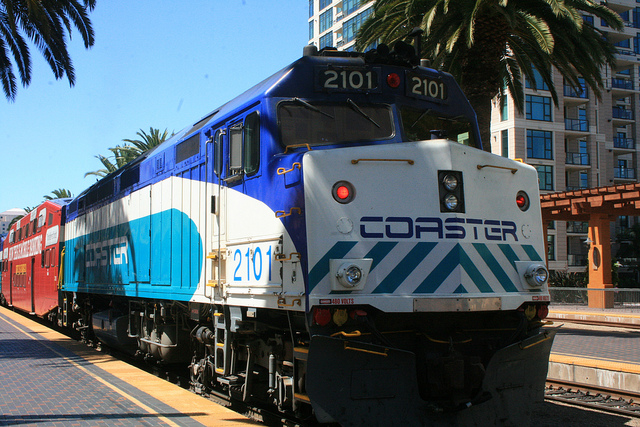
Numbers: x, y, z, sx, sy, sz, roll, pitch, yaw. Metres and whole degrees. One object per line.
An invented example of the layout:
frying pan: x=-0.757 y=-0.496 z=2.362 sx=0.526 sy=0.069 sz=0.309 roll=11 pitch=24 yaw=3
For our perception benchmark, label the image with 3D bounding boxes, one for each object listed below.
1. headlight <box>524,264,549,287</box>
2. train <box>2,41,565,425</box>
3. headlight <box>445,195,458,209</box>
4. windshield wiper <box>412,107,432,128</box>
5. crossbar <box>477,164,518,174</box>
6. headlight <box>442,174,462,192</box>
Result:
headlight: x=3.595 y=1.034 z=9.457 sx=0.293 sy=0.337 sz=0.177 roll=5 pitch=-12 yaw=-17
train: x=-6.614 y=0.809 z=18.302 sx=4.107 sy=6.736 sz=27.419 roll=3 pitch=-4 yaw=-43
headlight: x=2.100 y=-0.191 z=9.080 sx=0.210 sy=0.224 sz=0.044 roll=1 pitch=-3 yaw=-18
windshield wiper: x=1.799 y=-1.733 z=10.164 sx=0.084 sy=0.431 sz=0.054 roll=40 pitch=-4 yaw=-40
crossbar: x=2.972 y=-0.757 z=9.460 sx=0.864 sy=0.105 sz=0.032 roll=2 pitch=-3 yaw=-26
headlight: x=2.108 y=-0.489 z=9.108 sx=0.255 sy=0.227 sz=0.050 roll=0 pitch=-3 yaw=-28
